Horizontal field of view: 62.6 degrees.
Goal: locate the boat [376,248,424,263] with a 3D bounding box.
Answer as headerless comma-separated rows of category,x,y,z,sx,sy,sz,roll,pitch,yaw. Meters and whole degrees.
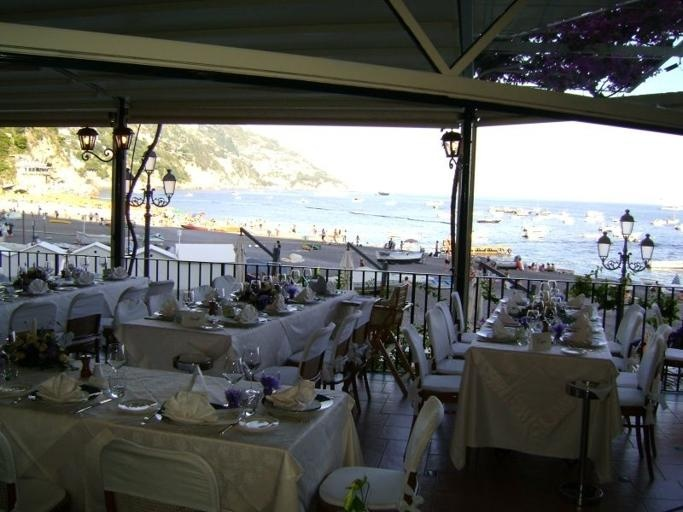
boat,5.504,-0.052,52.483,4.000,1.507,7.043,1,-3,5

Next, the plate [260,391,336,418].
plate,-0.229,0.807,3.041,0.388,0.082,0.233,2,-3,-14

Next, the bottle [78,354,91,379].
bottle,-1.529,0.653,3.354,0.062,0.133,0.226,2,-3,-25

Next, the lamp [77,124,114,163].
lamp,-3.294,-1.504,7.534,0.524,0.472,0.348,22,20,3

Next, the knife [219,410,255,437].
knife,-0.527,0.817,2.841,0.053,0.040,0.266,-4,16,23

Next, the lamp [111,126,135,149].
lamp,-2.931,-1.595,7.613,0.297,0.334,0.298,-7,12,-34

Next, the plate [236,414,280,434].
plate,-0.424,0.848,2.852,0.203,0.047,0.189,0,-3,13

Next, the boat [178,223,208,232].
boat,-17.802,-3.514,67.773,2.787,1.071,3.230,3,-4,-31

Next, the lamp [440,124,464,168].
lamp,1.318,-1.281,6.697,0.222,0.491,0.273,-1,13,6

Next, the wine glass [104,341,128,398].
wine glass,-1.301,0.638,3.241,0.101,0.298,0.316,2,-3,-22
